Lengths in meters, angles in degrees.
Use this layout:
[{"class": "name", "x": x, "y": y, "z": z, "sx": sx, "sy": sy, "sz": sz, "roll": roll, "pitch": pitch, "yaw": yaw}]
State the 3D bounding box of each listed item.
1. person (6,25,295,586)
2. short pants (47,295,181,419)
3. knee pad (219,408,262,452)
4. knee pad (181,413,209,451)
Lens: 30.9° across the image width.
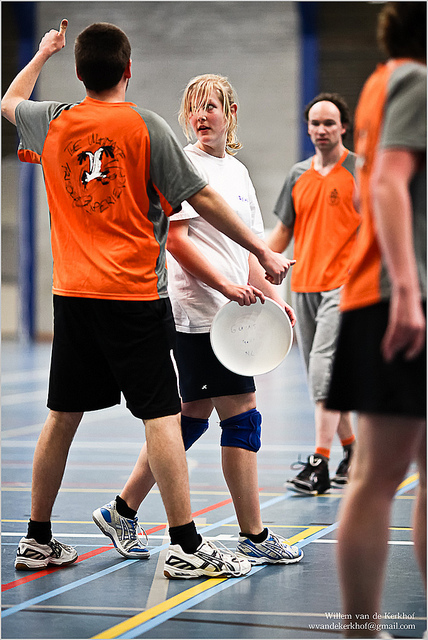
[{"class": "person", "x": -0.353, "y": -0.099, "z": 3.035, "sx": 1.002, "sy": 2.219, "sz": 0.381, "roll": 0, "pitch": -1, "yaw": 3}, {"class": "short pants", "x": -0.422, "y": 0.116, "z": 3.090, "sx": 0.586, "sy": 0.521, "sz": 0.282, "roll": -1, "pitch": 2, "yaw": 20}, {"class": "knee pad", "x": 0.112, "y": 0.477, "z": 3.315, "sx": 0.200, "sy": 0.185, "sz": 0.154, "roll": -8, "pitch": -18, "yaw": 19}, {"class": "knee pad", "x": -0.084, "y": 0.503, "z": 3.498, "sx": 0.123, "sy": 0.153, "sz": 0.131, "roll": 7, "pitch": 11, "yaw": -26}]
